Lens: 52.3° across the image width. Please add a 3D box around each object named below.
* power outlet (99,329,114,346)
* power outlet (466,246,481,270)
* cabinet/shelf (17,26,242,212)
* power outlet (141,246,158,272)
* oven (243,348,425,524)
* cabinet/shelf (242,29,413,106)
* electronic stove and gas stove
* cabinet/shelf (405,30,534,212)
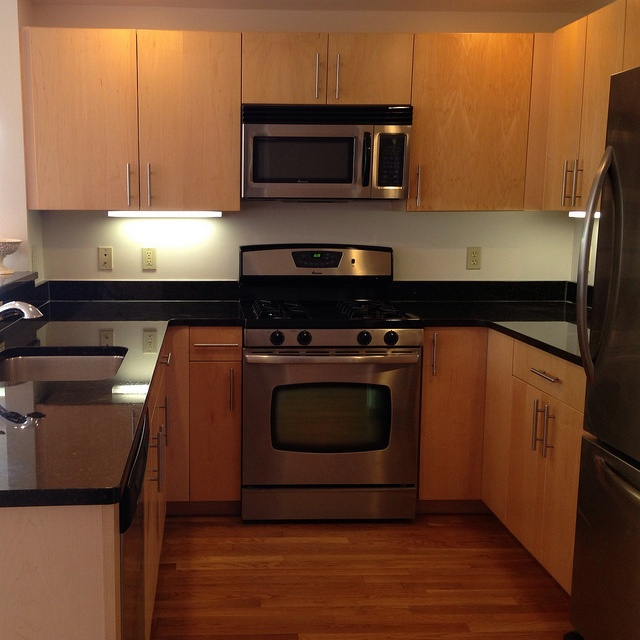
[{"bbox_3d":[-0.767,0.062,2.348,0.033,0.059,0.030,1,8,-2],"label":"power outlet"},{"bbox_3d":[0.780,-0.326,3.322,0.083,0.186,0.031,0,5,2],"label":"power outlet"},{"bbox_3d":[-0.808,-0.799,2.970,0.874,0.869,0.376,-5,-12,-11],"label":"cabinet/shelf"},{"bbox_3d":[-0.834,-0.310,3.196,0.092,0.179,0.016,-1,3,-10],"label":"power outlet"},{"bbox_3d":[0.043,0.311,3.011,0.758,1.028,0.667,0,30,-3],"label":"oven"},{"bbox_3d":[0.048,-1.200,2.900,0.707,0.303,0.370,-2,-28,-1],"label":"cabinet/shelf"},{"bbox_3d":[0.021,-0.128,2.951,0.762,0.392,0.591,0,10,-9],"label":"electronic stove and gas stove"},{"bbox_3d":[0.734,-1.005,3.194,0.402,0.991,0.622,2,12,10],"label":"cabinet/shelf"}]
